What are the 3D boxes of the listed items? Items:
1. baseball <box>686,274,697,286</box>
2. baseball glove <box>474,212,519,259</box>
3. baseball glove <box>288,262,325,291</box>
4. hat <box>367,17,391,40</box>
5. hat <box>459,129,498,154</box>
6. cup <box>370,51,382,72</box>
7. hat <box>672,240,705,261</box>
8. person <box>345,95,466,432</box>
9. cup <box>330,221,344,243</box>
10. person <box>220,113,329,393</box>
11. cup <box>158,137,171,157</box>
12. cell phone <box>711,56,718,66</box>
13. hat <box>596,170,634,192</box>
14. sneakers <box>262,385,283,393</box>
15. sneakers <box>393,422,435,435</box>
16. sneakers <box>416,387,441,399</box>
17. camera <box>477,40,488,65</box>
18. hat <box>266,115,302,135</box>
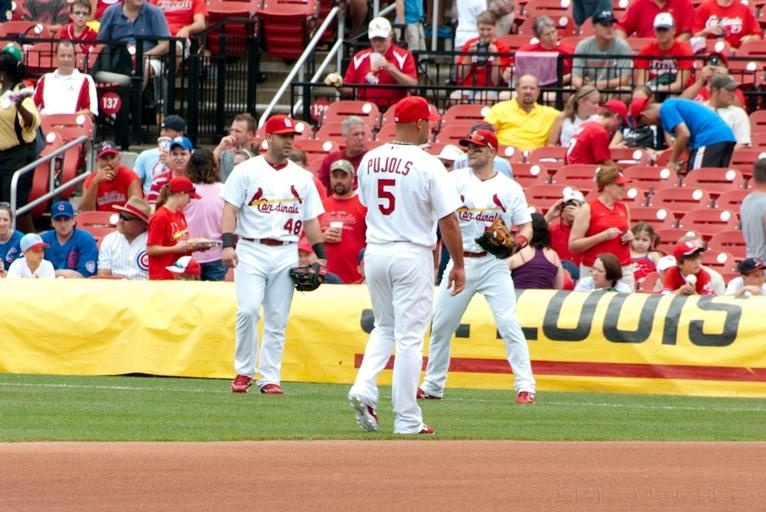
[{"bbox_3d":[3.654,0.267,20.999,0.126,0.128,0.124,5,-5,-39],"label":"baseball"},{"bbox_3d":[1.235,-0.189,19.341,0.422,0.427,0.179,-43,12,-5],"label":"baseball glove"},{"bbox_3d":[-0.856,0.213,19.873,0.350,0.357,0.267,3,7,23],"label":"baseball glove"},{"bbox_3d":[-0.047,-3.322,25.558,0.315,0.320,0.429,1,6,0],"label":"hat"},{"bbox_3d":[1.075,-1.313,19.744,0.338,0.176,0.225,11,0,-24],"label":"hat"},{"bbox_3d":[-0.098,-2.858,25.753,0.154,0.285,0.327,0,6,-11],"label":"cup"},{"bbox_3d":[3.658,-0.089,21.259,0.211,0.123,0.302,-11,-4,-25],"label":"hat"},{"bbox_3d":[0.224,0.085,18.434,1.111,3.489,0.613,1,6,0],"label":"person"},{"bbox_3d":[-0.562,-0.337,21.713,0.196,0.223,0.191,-1,-4,0],"label":"cup"},{"bbox_3d":[-1.270,-0.026,19.857,1.107,3.128,0.444,0,6,-7],"label":"person"},{"bbox_3d":[-2.912,-1.480,23.451,0.149,0.224,0.257,0,6,-7],"label":"cup"},{"bbox_3d":[4.656,-2.778,24.865,0.130,0.127,0.227,-2,7,4],"label":"cell phone"},{"bbox_3d":[2.774,-0.929,21.466,0.327,0.154,0.237,3,6,11],"label":"hat"},{"bbox_3d":[-1.258,1.491,19.856,0.175,0.077,0.096,-7,-10,39],"label":"sneakers"},{"bbox_3d":[0.320,1.816,18.378,0.407,0.175,0.149,5,0,-10],"label":"sneakers"},{"bbox_3d":[0.483,1.565,20.025,0.334,0.136,0.123,10,0,-7],"label":"sneakers"},{"bbox_3d":[1.464,-3.046,26.212,0.173,0.332,0.079,4,5,10],"label":"camera"},{"bbox_3d":[-1.156,-1.497,19.924,0.325,0.222,0.366,2,6,6],"label":"hat"}]
